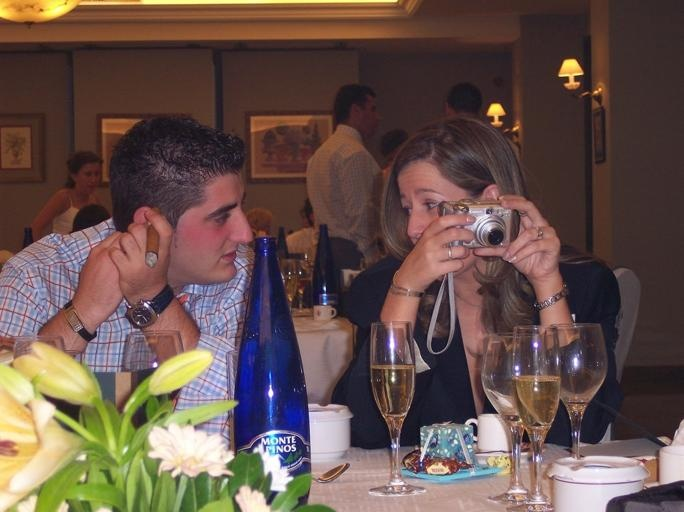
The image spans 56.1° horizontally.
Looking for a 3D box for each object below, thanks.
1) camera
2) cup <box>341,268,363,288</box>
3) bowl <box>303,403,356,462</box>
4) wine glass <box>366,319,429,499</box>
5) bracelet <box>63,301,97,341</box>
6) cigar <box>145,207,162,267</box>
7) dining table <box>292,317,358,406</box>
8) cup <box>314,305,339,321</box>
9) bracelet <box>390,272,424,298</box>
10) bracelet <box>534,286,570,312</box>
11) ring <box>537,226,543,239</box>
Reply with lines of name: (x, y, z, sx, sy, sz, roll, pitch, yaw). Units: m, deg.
camera: (0.366, -0.079, 1.698, 0.188, 0.136, 0.111, 1, 0, 33)
cup: (0.032, 0.091, 2.974, 0.068, 0.086, 0.121, -1, 0, 3)
bowl: (-0.022, 0.321, 1.183, 0.090, 0.071, 0.092, 0, -6, 0)
wine glass: (0.087, 0.239, 1.035, 0.081, 0.263, 0.082, 0, 3, 2)
bracelet: (-0.598, 0.145, 1.453, 0.027, 0.079, 0.077, -30, -20, -12)
cigar: (-0.441, -0.032, 1.502, 0.025, 0.116, 0.035, 2, -33, -18)
dining table: (-0.065, 0.407, 2.582, 0.321, 0.331, 0.339, 1, -4, 1)
cup: (-0.080, 0.249, 2.821, 0.080, 0.047, 0.059, 4, -6, -10)
bracelet: (0.167, 0.065, 1.627, 0.062, 0.025, 0.061, 19, 14, 12)
bracelet: (0.515, 0.102, 1.571, 0.061, 0.017, 0.062, -29, 19, 28)
ring: (0.488, -0.057, 1.576, 0.020, 0.026, 0.010, -2, -2, 12)
